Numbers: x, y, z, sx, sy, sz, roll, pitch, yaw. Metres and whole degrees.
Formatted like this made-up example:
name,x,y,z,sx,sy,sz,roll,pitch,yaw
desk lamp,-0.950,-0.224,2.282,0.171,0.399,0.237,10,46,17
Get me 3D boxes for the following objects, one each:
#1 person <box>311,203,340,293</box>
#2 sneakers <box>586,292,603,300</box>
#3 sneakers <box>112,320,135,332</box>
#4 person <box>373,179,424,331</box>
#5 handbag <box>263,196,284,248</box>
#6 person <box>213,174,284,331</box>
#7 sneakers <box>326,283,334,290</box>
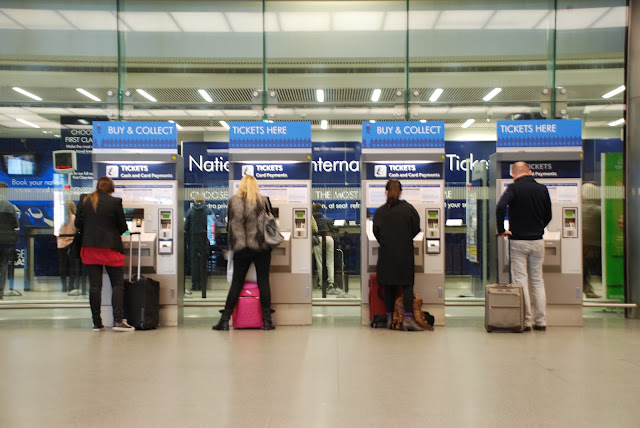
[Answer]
name,x,y,z,sx,sy,sz,roll,pitch,yaw
person,0.082,0.537,8.917,0.416,1.361,0.327,1,12,8
sneakers,4.266,1.274,8.890,0.307,0.118,0.092,-5,-5,5
sneakers,-2.710,1.556,7.921,0.262,0.139,0.144,2,-6,-15
person,1.087,0.563,7.947,0.708,2.005,0.528,3,12,13
handbag,-0.644,0.128,7.982,0.268,0.700,0.280,-1,12,-4
person,-0.955,0.546,7.979,0.853,2.099,0.532,-1,12,-5
sneakers,0.177,1.140,8.879,0.091,0.086,0.153,1,-2,9
